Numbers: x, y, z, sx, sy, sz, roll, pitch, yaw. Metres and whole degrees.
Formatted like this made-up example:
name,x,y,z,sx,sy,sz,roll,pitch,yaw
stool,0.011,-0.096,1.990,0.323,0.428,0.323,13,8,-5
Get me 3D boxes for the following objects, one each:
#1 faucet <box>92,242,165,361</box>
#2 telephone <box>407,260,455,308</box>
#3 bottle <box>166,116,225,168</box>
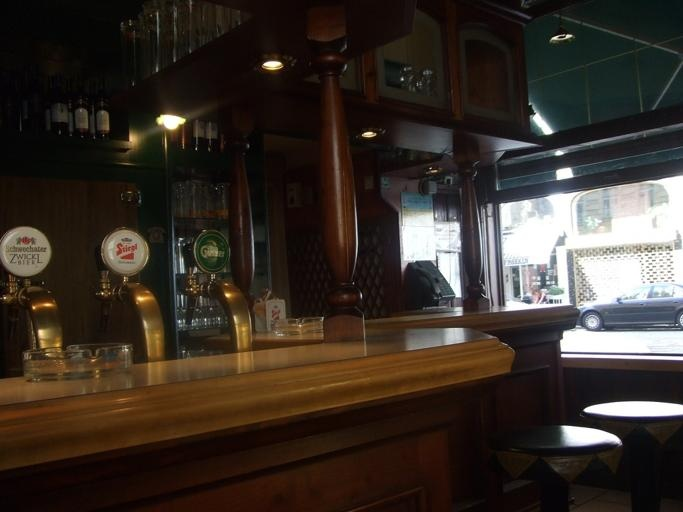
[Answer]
name,x,y,z,sx,sy,sz,roll,pitch,yaw
faucet,-0.720,0.152,1.961,0.405,0.340,0.159,10,2,41
telephone,0.901,0.304,5.859,0.396,0.531,0.283,-5,2,-43
bottle,-0.923,-0.737,3.754,0.390,0.228,0.523,1,-1,-24
